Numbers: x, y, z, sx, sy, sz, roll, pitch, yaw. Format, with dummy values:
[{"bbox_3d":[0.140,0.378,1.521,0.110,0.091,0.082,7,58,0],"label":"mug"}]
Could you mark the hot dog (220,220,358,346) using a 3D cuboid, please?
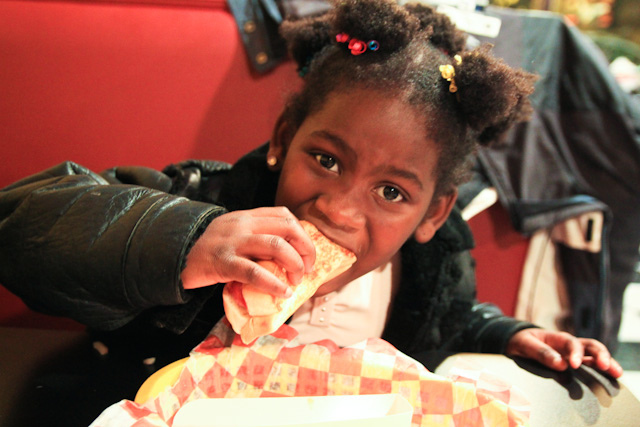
[{"bbox_3d":[-0.078,0.156,1.437,0.353,0.135,0.144,-35,50,-31],"label":"hot dog"}]
